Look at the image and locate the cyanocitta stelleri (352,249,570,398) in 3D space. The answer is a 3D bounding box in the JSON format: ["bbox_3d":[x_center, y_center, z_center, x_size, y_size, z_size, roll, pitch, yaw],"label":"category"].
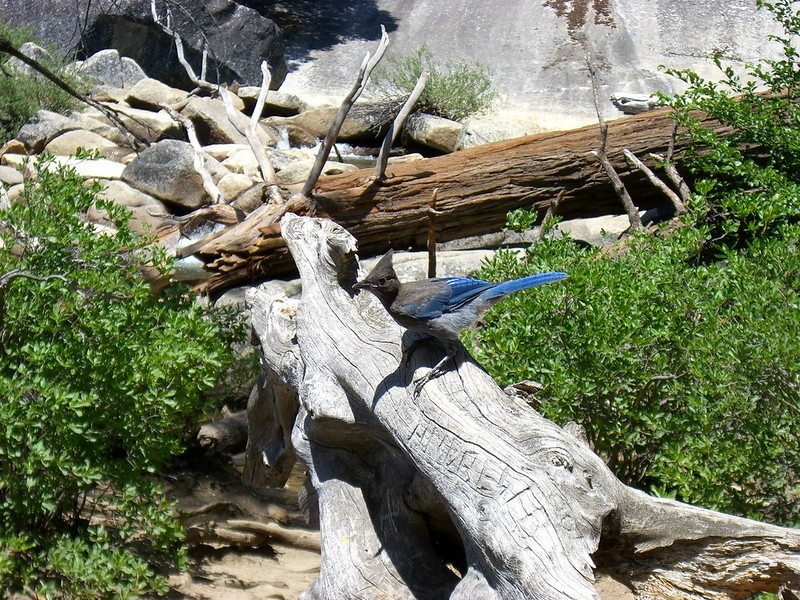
[{"bbox_3d":[0.572,0.257,18.543,1.515,1.893,1.692,-5,5,-15],"label":"cyanocitta stelleri"}]
